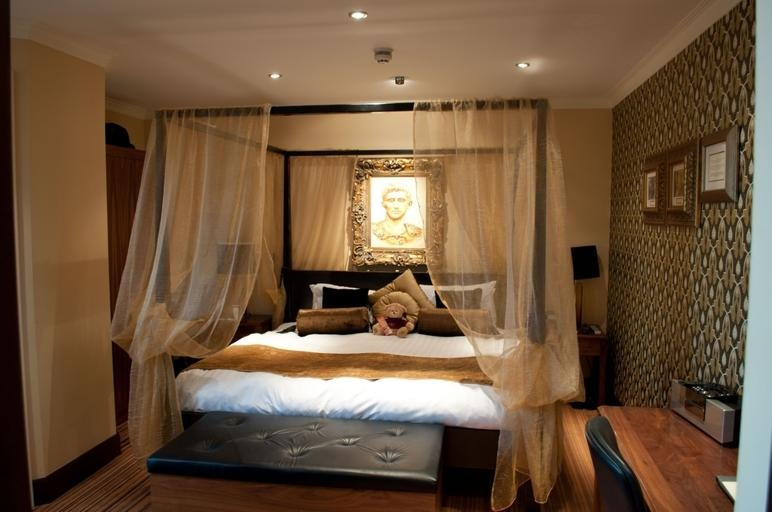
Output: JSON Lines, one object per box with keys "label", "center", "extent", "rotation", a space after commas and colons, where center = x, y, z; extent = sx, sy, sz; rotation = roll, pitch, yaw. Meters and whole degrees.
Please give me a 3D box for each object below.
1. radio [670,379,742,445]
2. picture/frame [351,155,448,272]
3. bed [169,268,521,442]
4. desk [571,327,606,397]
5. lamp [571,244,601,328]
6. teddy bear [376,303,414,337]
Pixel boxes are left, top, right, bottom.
{"label": "radio", "center": [1.892, 0.879, 3.239], "extent": [0.167, 0.221, 0.552], "rotation": [-2, 5, 0]}
{"label": "picture/frame", "center": [0.124, -0.461, 5.353], "extent": [1.196, 1.408, 0.148], "rotation": [0, 1, 3]}
{"label": "bed", "center": [-0.250, 0.862, 4.592], "extent": [2.338, 0.669, 1.517], "rotation": [0, 1, 8]}
{"label": "desk", "center": [1.933, 1.028, 5.139], "extent": [0.257, 0.683, 0.368], "rotation": [1, 2, 22]}
{"label": "lamp", "center": [1.901, 0.278, 5.200], "extent": [0.235, 0.784, 0.529], "rotation": [1, 2, 23]}
{"label": "teddy bear", "center": [0.074, 0.630, 5.300], "extent": [0.369, 0.341, 0.235], "rotation": [3, -1, 2]}
